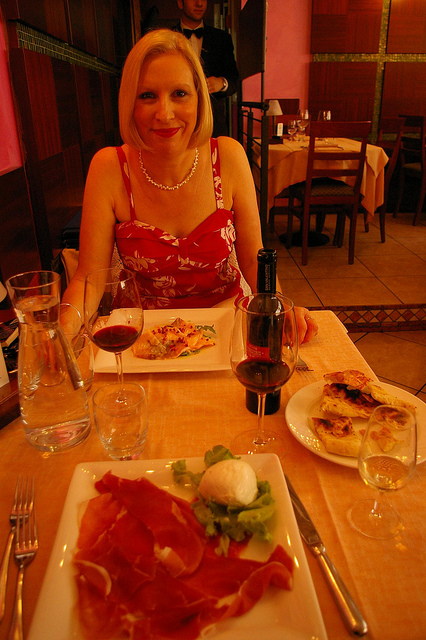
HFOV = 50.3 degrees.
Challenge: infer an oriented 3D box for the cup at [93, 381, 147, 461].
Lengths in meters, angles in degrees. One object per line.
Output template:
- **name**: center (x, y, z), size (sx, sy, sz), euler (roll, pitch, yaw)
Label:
- **cup**: center (-0.137, 0.148, 0.729), size (0.092, 0.116, 0.094), euler (2, 19, -1)

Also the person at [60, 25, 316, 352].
- **person**: center (-0.120, -0.273, 1.484), size (0.671, 1.164, 0.596), euler (-1, 20, -10)

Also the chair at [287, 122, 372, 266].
- **chair**: center (1.049, -1.160, 4.130), size (0.621, 1.158, 0.701), euler (6, 13, 17)

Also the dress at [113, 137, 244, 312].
- **dress**: center (-0.114, -0.345, 1.632), size (0.438, 0.686, 0.365), euler (-7, 16, 7)

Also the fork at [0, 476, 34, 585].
- **fork**: center (-0.240, 0.264, 0.571), size (0.020, 0.020, 0.170), euler (2, 38, -14)

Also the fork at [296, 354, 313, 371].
- **fork**: center (0.190, 0.091, 0.946), size (0.037, 0.011, 0.038), euler (0, 30, 3)

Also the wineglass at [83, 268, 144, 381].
- **wineglass**: center (-0.201, 0.009, 0.906), size (0.105, 0.212, 0.259), euler (-7, 27, -15)
